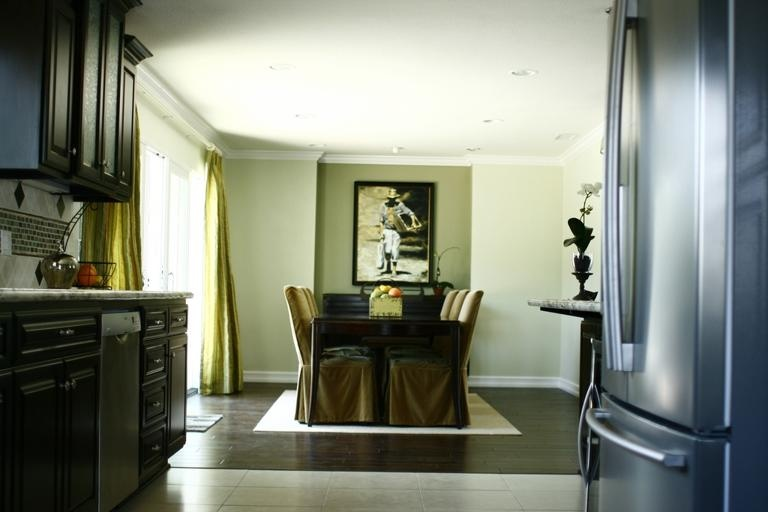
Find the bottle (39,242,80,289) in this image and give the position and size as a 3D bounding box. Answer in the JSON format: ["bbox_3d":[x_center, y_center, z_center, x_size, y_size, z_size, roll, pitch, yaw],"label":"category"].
[{"bbox_3d":[-1.862,0.083,3.425,0.126,0.250,0.166,1,-1,39],"label":"bottle"}]

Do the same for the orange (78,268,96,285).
[{"bbox_3d":[-1.800,0.126,3.608,0.095,0.117,0.097,1,-4,4],"label":"orange"}]

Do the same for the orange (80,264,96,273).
[{"bbox_3d":[-1.812,0.082,3.644,0.063,0.062,0.065,-3,-3,28],"label":"orange"}]

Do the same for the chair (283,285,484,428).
[{"bbox_3d":[-0.011,0.784,5.572,1.333,0.854,1.362,0,-7,2],"label":"chair"}]

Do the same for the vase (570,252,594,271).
[{"bbox_3d":[1.084,0.033,3.283,0.088,0.085,0.098,2,-7,-3],"label":"vase"}]
